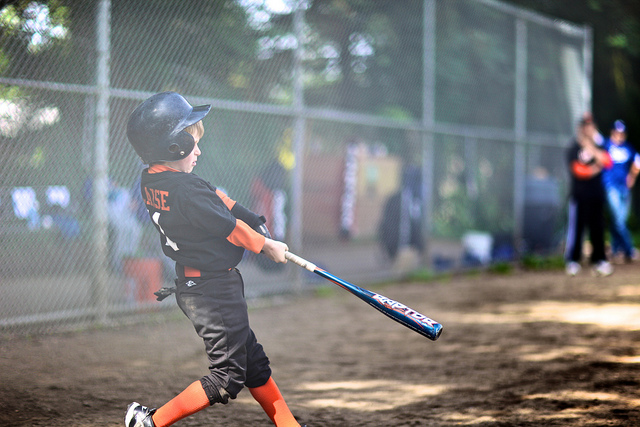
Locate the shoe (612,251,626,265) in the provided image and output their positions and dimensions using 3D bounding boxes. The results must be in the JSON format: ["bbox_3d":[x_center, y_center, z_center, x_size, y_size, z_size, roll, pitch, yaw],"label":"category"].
[{"bbox_3d":[2.966,0.432,10.078,0.136,0.125,0.033,-19,-5,-20],"label":"shoe"}]

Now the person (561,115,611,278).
[{"bbox_3d":[2.653,-0.193,10.197,0.491,1.635,0.329,-2,-3,14],"label":"person"}]

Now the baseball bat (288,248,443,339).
[{"bbox_3d":[0.385,0.793,10.150,1.456,0.163,0.126,29,-45,-4],"label":"baseball bat"}]

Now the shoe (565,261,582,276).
[{"bbox_3d":[2.539,0.534,10.197,0.132,0.147,0.093,8,-32,24],"label":"shoe"}]

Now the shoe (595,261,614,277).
[{"bbox_3d":[2.805,0.532,10.000,0.179,0.154,0.073,-2,-3,14],"label":"shoe"}]
